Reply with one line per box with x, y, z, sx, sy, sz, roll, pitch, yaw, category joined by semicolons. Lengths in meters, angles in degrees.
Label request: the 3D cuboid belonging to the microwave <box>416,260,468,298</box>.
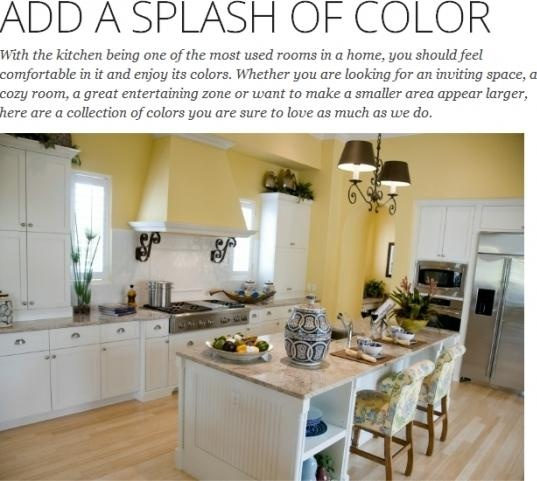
2.411;0.536;5.766;0.618;0.486;0.380;4;3;30;microwave

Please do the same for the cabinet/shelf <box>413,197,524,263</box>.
2.679;-0.130;5.381;0.276;0.754;0.781;4;0;-42;cabinet/shelf

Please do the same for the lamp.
1.320;-0.852;5.171;0.382;1.243;1.081;-1;-10;42;lamp

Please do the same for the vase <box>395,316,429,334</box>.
1.482;0.859;4.200;0.202;0.141;0.215;0;0;20;vase

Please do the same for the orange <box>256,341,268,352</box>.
-0.048;0.766;3.005;0.058;0.087;0.060;-4;9;-30;orange

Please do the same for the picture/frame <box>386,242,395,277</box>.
2.518;0.411;8.515;0.119;0.747;0.351;3;3;9;picture/frame

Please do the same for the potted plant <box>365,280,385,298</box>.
2.161;0.991;8.343;0.335;0.385;0.374;4;-2;8;potted plant

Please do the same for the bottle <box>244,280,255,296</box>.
-0.255;0.677;5.760;0.149;0.181;0.160;1;1;8;bottle

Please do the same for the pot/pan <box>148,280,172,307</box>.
-1.247;0.617;4.802;0.247;0.276;0.267;2;2;6;pot/pan

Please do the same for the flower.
1.489;0.656;4.345;0.613;0.508;0.585;0;0;8;flower

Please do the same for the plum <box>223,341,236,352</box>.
-0.279;0.759;2.920;0.060;0.082;0.063;0;5;25;plum

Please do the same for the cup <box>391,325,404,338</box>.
1.220;0.863;3.880;0.096;0.101;0.078;-5;12;5;cup

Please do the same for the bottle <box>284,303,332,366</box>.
0.311;0.654;3.058;0.358;0.511;0.371;1;6;0;bottle

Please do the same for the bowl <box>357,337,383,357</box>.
0.805;0.834;3.273;0.159;0.117;0.128;-1;1;34;bowl
